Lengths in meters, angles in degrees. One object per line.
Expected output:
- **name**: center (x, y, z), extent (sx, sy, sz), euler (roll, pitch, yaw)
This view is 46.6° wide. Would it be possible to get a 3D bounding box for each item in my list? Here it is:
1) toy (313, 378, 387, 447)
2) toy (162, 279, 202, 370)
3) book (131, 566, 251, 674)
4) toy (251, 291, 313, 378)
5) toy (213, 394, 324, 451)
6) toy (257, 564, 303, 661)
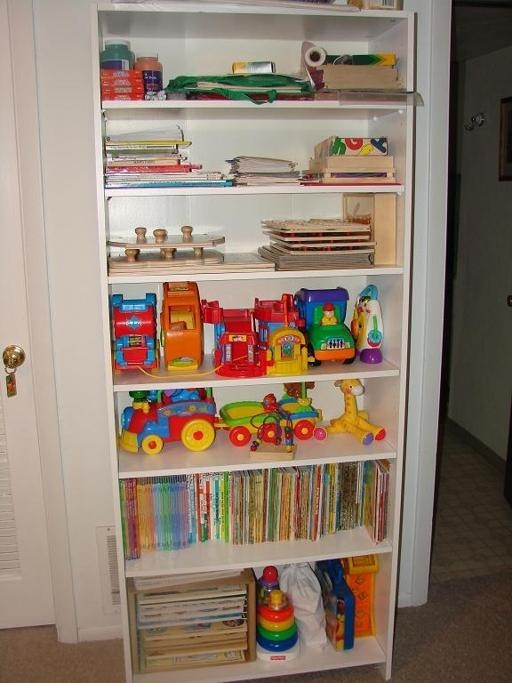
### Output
- **toy**: center (0.283, 0.224, 1.766), extent (0.196, 0.179, 0.189), euler (-7, 11, -21)
- **toy**: center (-0.198, -0.040, 1.581), extent (0.110, 0.221, 0.154), euler (-5, 19, -6)
- **book**: center (-0.195, 0.780, 1.678), extent (0.337, 0.266, 0.116), euler (-1, 18, -2)
- **toy**: center (0.062, -0.013, 1.586), extent (0.144, 0.207, 0.208), euler (-6, 15, -7)
- **toy**: center (0.043, 0.224, 1.712), extent (0.254, 0.113, 0.147), euler (1, 10, -1)
- **toy**: center (0.059, 0.802, 1.781), extent (0.185, 0.236, 0.204), euler (-1, 4, -2)
